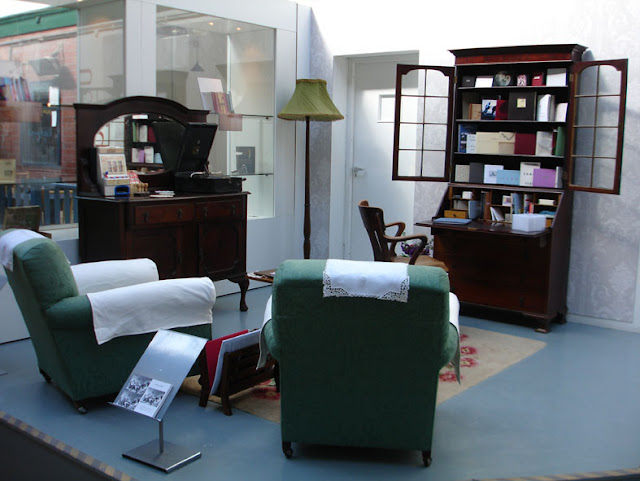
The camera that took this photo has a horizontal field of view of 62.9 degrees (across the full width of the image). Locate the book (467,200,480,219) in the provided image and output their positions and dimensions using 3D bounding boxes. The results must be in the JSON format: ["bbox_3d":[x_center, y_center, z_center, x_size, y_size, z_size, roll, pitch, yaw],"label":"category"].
[{"bbox_3d":[1.617,-0.324,5.529,0.176,0.190,0.044,4,-2,-38],"label":"book"}]

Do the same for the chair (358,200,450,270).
[{"bbox_3d":[0.846,0.154,5.174,0.792,1.043,0.726,-5,12,-1],"label":"chair"}]

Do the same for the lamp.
[{"bbox_3d":[-0.141,-0.833,6.392,0.744,2.221,0.674,0,11,-5],"label":"lamp"}]

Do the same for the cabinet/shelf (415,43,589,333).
[{"bbox_3d":[1.894,-0.559,5.324,1.329,2.709,0.806,8,13,33],"label":"cabinet/shelf"}]

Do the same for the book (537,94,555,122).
[{"bbox_3d":[2.201,-1.291,5.116,0.088,0.251,0.251,1,10,-1],"label":"book"}]

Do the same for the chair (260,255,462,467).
[{"bbox_3d":[0.242,0.589,3.257,1.152,1.041,0.996,1,15,5],"label":"chair"}]

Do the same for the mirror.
[{"bbox_3d":[-1.764,-0.908,4.940,0.239,0.632,0.686,7,9,44],"label":"mirror"}]

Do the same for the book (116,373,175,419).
[{"bbox_3d":[-0.913,0.834,2.858,0.324,0.223,0.088,3,-30,36],"label":"book"}]
